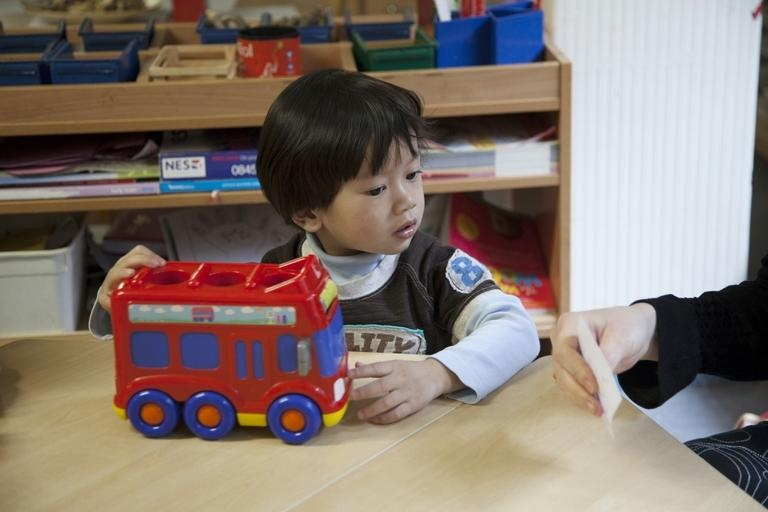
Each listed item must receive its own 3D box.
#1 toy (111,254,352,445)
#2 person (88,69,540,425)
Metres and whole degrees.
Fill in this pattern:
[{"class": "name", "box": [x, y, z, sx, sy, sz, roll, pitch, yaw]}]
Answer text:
[{"class": "toy", "box": [-0.245, 0.237, 1.153, 0.467, 0.376, 0.261, 0, 13, 3]}, {"class": "person", "box": [-0.125, -0.080, 1.380, 0.630, 0.669, 0.884, -17, 23, -40]}]
